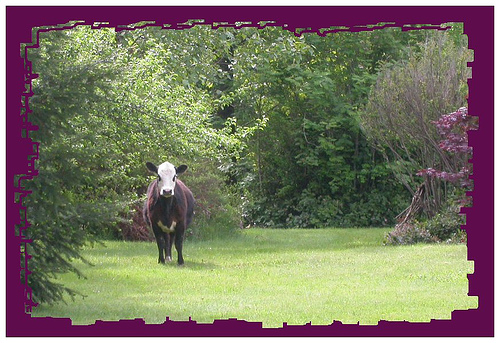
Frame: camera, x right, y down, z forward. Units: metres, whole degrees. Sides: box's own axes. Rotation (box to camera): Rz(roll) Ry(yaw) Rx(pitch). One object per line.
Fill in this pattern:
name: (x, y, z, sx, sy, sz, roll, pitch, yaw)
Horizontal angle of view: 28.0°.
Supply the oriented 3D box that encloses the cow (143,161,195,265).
cow: (-1.795, 0.946, 22.397, 1.077, 2.299, 1.706, 0, -1, -5)
